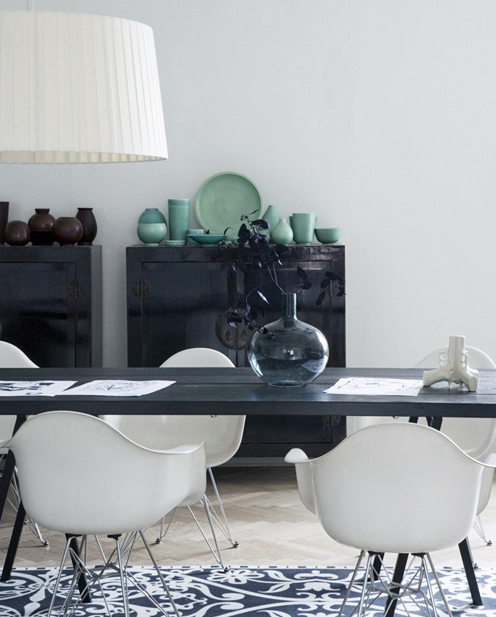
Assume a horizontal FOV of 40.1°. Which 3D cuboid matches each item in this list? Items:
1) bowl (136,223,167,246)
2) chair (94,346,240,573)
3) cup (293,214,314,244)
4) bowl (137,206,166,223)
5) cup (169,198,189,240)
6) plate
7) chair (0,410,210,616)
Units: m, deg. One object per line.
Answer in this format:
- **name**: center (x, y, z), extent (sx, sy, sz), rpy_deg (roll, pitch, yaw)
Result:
- **bowl**: center (-0.590, -0.456, 4.189), extent (0.145, 0.104, 0.138), rpy_deg (1, 3, 0)
- **chair**: center (-0.213, 0.596, 3.091), extent (0.726, 1.151, 0.853), rpy_deg (0, -15, 9)
- **cup**: center (0.341, -0.495, 4.238), extent (0.167, 0.199, 0.166), rpy_deg (-1, 0, 0)
- **bowl**: center (-0.605, -0.582, 4.280), extent (0.165, 0.098, 0.210), rpy_deg (-1, -1, -8)
- **cup**: center (-0.433, -0.553, 4.268), extent (0.127, 0.252, 0.128), rpy_deg (-1, 0, 0)
- **plate**: center (-0.135, -0.690, 4.408), extent (0.523, 0.513, 0.119), rpy_deg (7, 16, 5)
- **chair**: center (-0.389, 0.644, 2.004), extent (0.524, 0.611, 0.609), rpy_deg (-1, 0, -3)
